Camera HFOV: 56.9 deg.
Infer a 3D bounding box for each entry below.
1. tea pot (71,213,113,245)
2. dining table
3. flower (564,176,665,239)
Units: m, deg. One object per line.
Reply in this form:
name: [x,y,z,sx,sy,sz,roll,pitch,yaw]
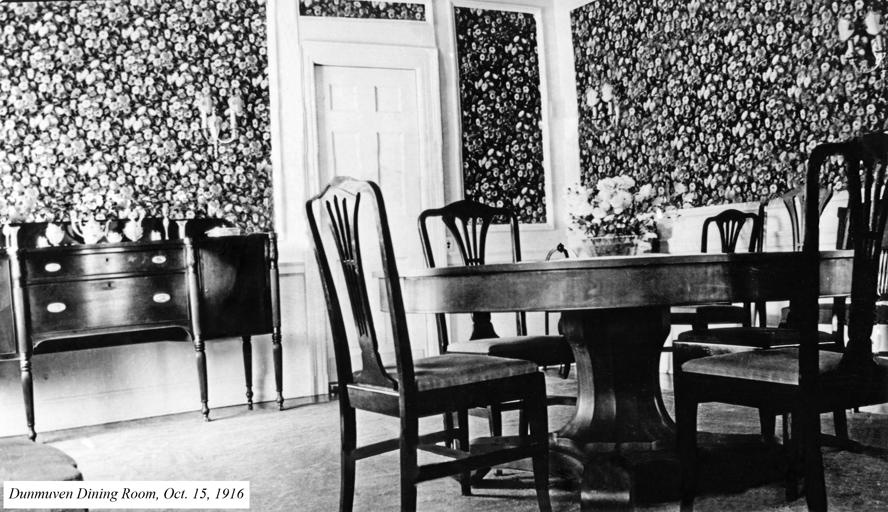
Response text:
tea pot: [-2.625,-0.193,6.093,0.266,0.187,0.107,-2,4,2]
dining table: [0.732,0.506,4.495,1.708,0.796,1.646,-2,-5,-16]
flower: [1.122,-0.307,5.306,0.676,0.432,0.649,-3,5,-20]
